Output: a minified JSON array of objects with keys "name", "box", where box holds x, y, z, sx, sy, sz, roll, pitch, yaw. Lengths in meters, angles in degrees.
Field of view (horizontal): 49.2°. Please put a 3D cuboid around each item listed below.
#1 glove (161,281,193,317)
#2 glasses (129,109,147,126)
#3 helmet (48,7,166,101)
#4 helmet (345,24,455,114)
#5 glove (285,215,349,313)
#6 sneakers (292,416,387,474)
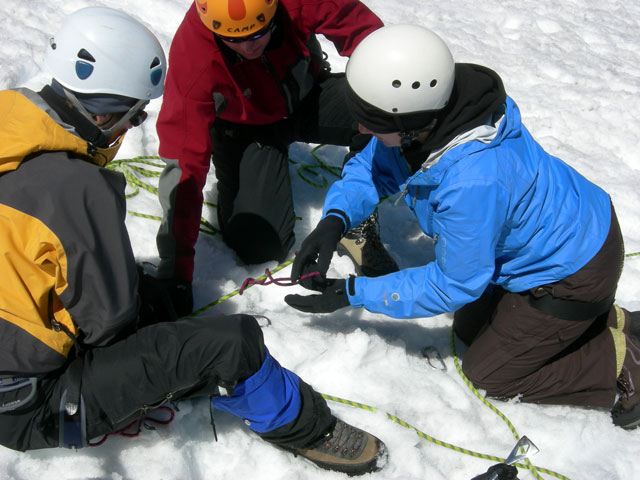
[{"name":"glove","box":[-0.914,0.372,4.387,0.123,0.257,0.188,3,8,29]},{"name":"glasses","box":[-1.064,-0.718,4.060,0.075,0.098,0.037,33,16,-53]},{"name":"helmet","box":[-1.176,-1.045,4.013,0.581,0.503,0.475,10,28,-3]},{"name":"helmet","box":[0.463,-0.966,4.038,0.535,0.455,0.454,-22,50,18]},{"name":"glove","box":[-0.012,0.179,4.523,0.186,0.569,0.463,17,49,-29]},{"name":"sneakers","box":[0.154,1.229,4.067,0.594,0.267,0.247,14,68,7]}]
